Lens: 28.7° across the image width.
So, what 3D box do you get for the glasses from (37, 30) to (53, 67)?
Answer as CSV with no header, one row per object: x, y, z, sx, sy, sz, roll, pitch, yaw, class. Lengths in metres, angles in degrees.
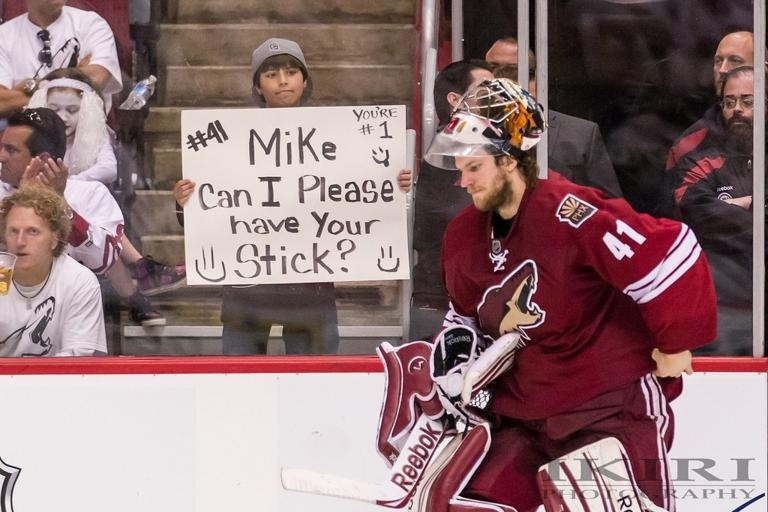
-1.618,-0.984,7.114,0.067,0.169,0.022,-1,0,-12,glasses

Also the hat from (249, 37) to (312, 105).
-0.490,-0.855,7.168,0.273,0.231,0.329,-12,-11,-4,hat

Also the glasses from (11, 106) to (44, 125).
-1.702,-0.661,7.081,0.122,0.069,0.042,-2,-6,-6,glasses

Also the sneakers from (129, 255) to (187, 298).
-1.157,0.098,7.187,0.368,0.149,0.125,-12,5,-1,sneakers
